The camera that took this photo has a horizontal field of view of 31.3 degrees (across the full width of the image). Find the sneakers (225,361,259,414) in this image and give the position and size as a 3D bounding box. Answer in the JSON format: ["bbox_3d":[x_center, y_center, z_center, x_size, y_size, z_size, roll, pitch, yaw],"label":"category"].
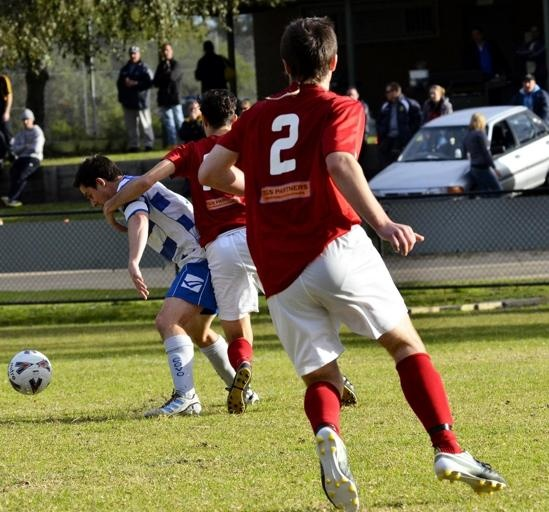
[{"bbox_3d":[-0.225,0.876,6.502,0.127,0.389,0.149,9,32,8],"label":"sneakers"}]

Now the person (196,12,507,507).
[{"bbox_3d":[0.278,0.024,4.922,1.436,2.474,0.640,2,7,42],"label":"person"}]

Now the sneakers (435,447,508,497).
[{"bbox_3d":[0.926,1.028,4.763,0.409,0.205,0.153,23,-24,-12],"label":"sneakers"}]

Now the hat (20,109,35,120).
[{"bbox_3d":[-2.891,-1.655,11.499,0.125,0.106,0.130,-7,16,-24],"label":"hat"}]

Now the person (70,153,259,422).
[{"bbox_3d":[-0.852,0.293,7.493,1.117,2.361,1.228,-20,-22,20],"label":"person"}]

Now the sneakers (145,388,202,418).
[{"bbox_3d":[-0.687,0.981,6.544,0.414,0.202,0.149,-1,-4,-7],"label":"sneakers"}]
